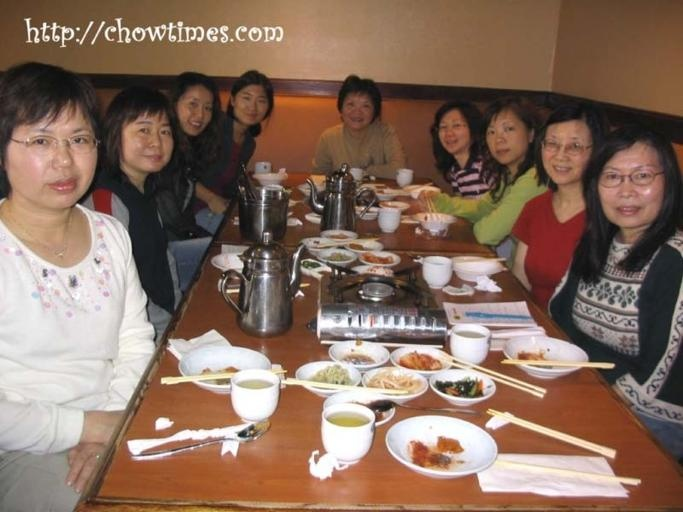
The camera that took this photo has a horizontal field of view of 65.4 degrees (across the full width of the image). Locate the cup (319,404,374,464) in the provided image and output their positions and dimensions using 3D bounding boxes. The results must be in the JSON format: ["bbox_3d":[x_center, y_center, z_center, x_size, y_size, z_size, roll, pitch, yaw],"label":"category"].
[{"bbox_3d":[0.013,0.417,1.259,0.120,0.090,0.128,1,6,0],"label":"cup"}]

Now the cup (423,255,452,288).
[{"bbox_3d":[0.373,0.064,2.125,0.129,0.094,0.116,8,3,-38],"label":"cup"}]

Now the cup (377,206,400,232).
[{"bbox_3d":[0.253,-0.189,2.884,0.127,0.105,0.126,2,4,0],"label":"cup"}]

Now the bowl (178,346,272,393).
[{"bbox_3d":[-0.347,0.328,1.554,0.163,0.035,0.154,5,19,-2],"label":"bowl"}]

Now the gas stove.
[{"bbox_3d":[0.130,0.170,1.733,0.277,0.105,0.281,0,19,-3],"label":"gas stove"}]

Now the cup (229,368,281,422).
[{"bbox_3d":[-0.225,0.359,1.385,0.125,0.094,0.129,1,4,0],"label":"cup"}]

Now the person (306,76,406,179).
[{"bbox_3d":[0.171,-1.165,4.769,0.872,0.844,0.681,8,20,21],"label":"person"}]

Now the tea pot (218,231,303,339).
[{"bbox_3d":[-0.320,0.090,1.749,0.405,0.369,0.224,-1,15,-16],"label":"tea pot"}]

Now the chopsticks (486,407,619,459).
[{"bbox_3d":[0.536,0.460,1.364,0.226,0.023,0.030,16,-1,18],"label":"chopsticks"}]

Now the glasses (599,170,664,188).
[{"bbox_3d":[1.083,-0.286,2.001,0.192,0.071,0.042,9,21,26],"label":"glasses"}]

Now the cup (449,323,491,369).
[{"bbox_3d":[0.407,0.274,1.633,0.135,0.088,0.108,6,10,42],"label":"cup"}]

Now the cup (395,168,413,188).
[{"bbox_3d":[0.490,-0.607,4.213,0.177,0.137,0.152,3,14,10],"label":"cup"}]

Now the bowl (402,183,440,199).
[{"bbox_3d":[0.552,-0.467,3.800,0.169,0.033,0.167,-1,16,0],"label":"bowl"}]
